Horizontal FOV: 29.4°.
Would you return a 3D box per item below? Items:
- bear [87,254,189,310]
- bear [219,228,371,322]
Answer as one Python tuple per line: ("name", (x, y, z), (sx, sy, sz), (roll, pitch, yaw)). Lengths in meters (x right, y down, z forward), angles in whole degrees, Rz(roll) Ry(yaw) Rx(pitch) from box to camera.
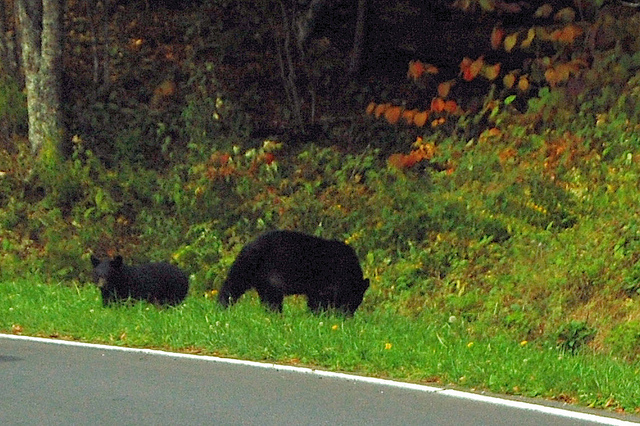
("bear", (-3.754, 1.419, 25.834), (2.085, 1.084, 0.895), (0, 14, -34))
("bear", (-0.463, 1.248, 25.441), (3.817, 2.239, 1.300), (3, 9, -6))
